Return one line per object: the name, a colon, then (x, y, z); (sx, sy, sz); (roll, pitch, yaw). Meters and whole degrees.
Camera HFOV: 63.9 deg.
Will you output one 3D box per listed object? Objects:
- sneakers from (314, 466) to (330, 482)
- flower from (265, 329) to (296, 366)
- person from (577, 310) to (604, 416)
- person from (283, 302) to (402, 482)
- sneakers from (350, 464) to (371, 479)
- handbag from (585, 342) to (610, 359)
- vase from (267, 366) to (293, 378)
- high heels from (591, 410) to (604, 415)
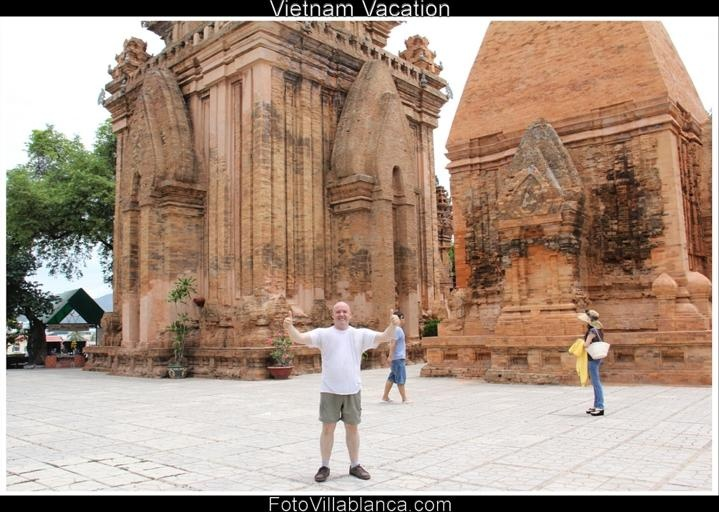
sneakers: (-0.421, 2.404, 6.418); (0.170, 0.149, 0.224); (-1, -9, -5)
flower: (-2.309, 2.749, 16.893); (1.115, 1.077, 0.886); (2, -9, -10)
person: (3.930, 1.755, 9.715); (0.387, 1.671, 0.998); (-7, -10, 20)
person: (-0.189, 1.512, 6.732); (1.264, 1.989, 1.036); (-3, -10, 1)
sneakers: (0.013, 2.402, 6.448); (0.119, 0.086, 0.247); (4, -11, -41)
handbag: (4.064, 1.566, 9.622); (0.348, 0.176, 0.299); (15, -27, -28)
vase: (-2.314, 3.322, 16.522); (0.536, 0.194, 0.485); (-4, -8, 20)
high heels: (3.809, 2.495, 9.237); (0.208, 0.079, 0.217); (-5, -9, 19)
